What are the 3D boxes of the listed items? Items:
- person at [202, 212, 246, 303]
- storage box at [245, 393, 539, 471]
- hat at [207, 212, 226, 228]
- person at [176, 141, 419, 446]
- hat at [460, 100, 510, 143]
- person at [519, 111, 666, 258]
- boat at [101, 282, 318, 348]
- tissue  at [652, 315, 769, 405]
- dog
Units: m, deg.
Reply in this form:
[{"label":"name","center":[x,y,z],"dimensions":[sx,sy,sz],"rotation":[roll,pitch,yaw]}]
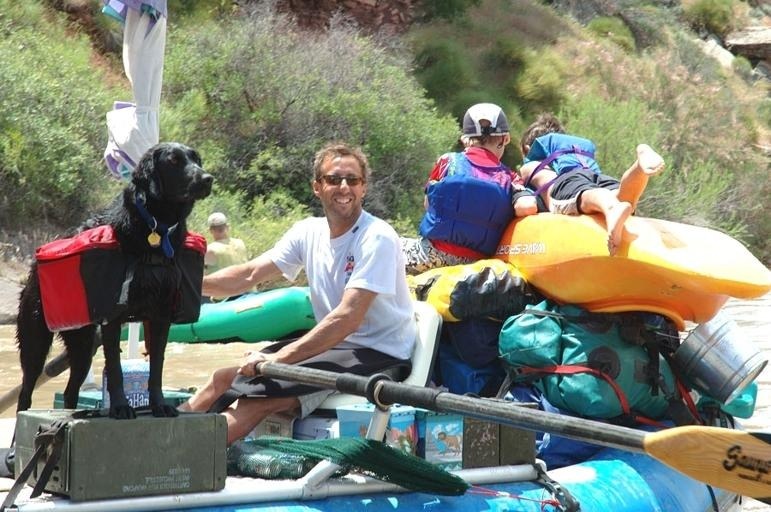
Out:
[{"label":"person","center":[-2.059,-0.074,14.386],"dimensions":[0.578,1.361,0.669],"rotation":[1,-1,-15]},{"label":"storage box","center":[0.206,1.439,8.550],"dimensions":[1.142,0.590,1.350],"rotation":[-2,-1,-12]},{"label":"hat","center":[-2.209,-0.466,14.693],"dimensions":[0.258,0.175,0.361],"rotation":[-5,5,-9]},{"label":"person","center":[-0.730,0.327,8.942],"dimensions":[1.106,2.614,1.446],"rotation":[1,0,42]},{"label":"hat","center":[0.896,-1.184,9.966],"dimensions":[0.420,0.314,0.595],"rotation":[-4,-6,5]},{"label":"person","center":[1.843,-0.651,9.682],"dimensions":[0.711,0.955,1.674],"rotation":[18,1,-27]},{"label":"boat","center":[-1.271,0.541,9.440],"dimensions":[1.300,0.350,0.660],"rotation":[-7,-6,13]},{"label":"tissue ","center":[2.674,0.853,9.203],"dimensions":[0.592,0.758,0.685],"rotation":[35,-29,12]},{"label":"dog","center":[-1.906,0.045,8.222],"dimensions":[1.265,2.148,1.402],"rotation":[1,1,-11]}]
